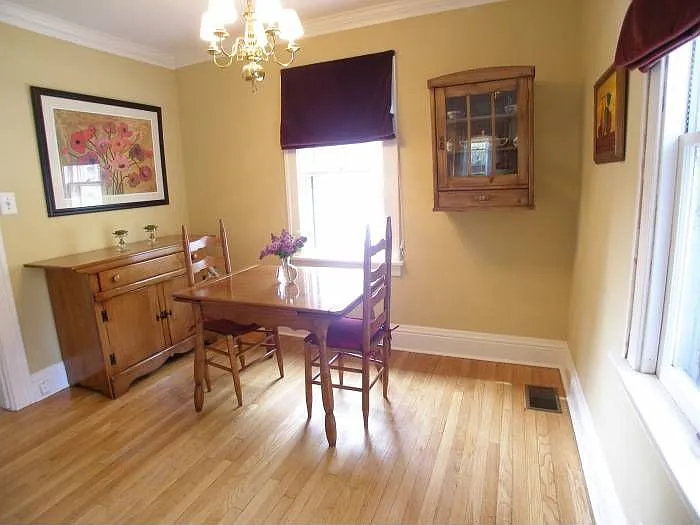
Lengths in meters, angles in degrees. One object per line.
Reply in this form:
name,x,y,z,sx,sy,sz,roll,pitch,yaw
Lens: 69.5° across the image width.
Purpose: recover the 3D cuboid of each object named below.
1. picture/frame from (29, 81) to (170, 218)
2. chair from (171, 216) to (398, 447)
picture/frame,-2.275,-0.997,4.470,0.075,1.118,1.210,3,7,30
chair,-0.398,0.340,4.304,1.636,1.809,1.304,5,12,18
